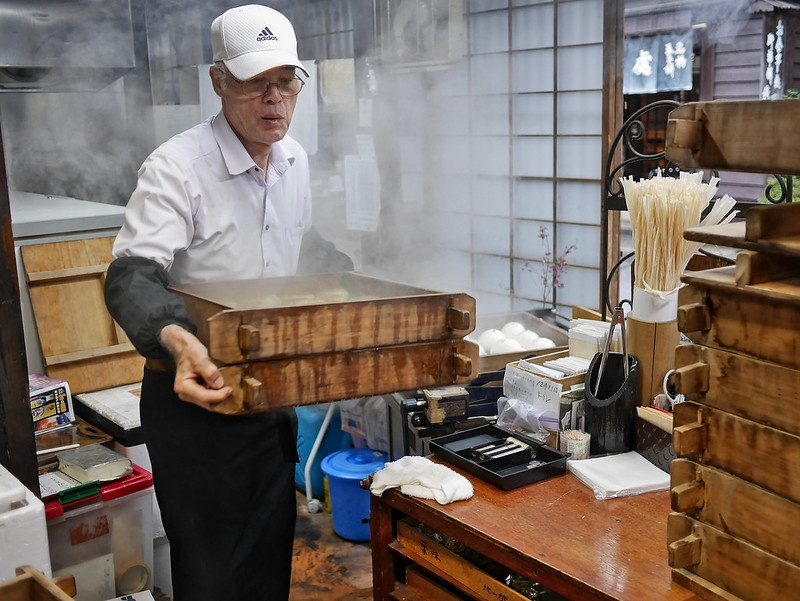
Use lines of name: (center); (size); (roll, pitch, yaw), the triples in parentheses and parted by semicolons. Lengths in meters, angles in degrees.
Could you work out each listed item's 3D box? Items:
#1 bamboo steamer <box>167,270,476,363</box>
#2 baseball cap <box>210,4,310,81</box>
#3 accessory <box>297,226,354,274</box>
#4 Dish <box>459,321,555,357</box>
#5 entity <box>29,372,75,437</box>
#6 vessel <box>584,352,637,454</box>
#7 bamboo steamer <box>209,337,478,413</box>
bamboo steamer: (-0.189, 0.041, 1.510); (0.408, 0.097, 0.409); (-6, 10, -29)
baseball cap: (-0.421, -0.800, 1.800); (0.212, 0.161, 0.304); (-15, 33, -33)
accessory: (-0.290, -0.208, 2.199); (0.211, 0.196, 0.069); (5, -2, 20)
Dish: (0.562, 0.201, 3.006); (0.284, 0.091, 0.263); (-3, 6, -18)
entity: (-1.468, 0.445, 2.532); (0.130, 0.200, 0.187); (-8, 15, -25)
vessel: (0.701, 0.354, 2.024); (0.140, 0.304, 0.166); (-13, 22, -11)
bamboo steamer: (-0.122, 0.185, 1.504); (0.326, 0.077, 0.326); (-6, 2, -30)
